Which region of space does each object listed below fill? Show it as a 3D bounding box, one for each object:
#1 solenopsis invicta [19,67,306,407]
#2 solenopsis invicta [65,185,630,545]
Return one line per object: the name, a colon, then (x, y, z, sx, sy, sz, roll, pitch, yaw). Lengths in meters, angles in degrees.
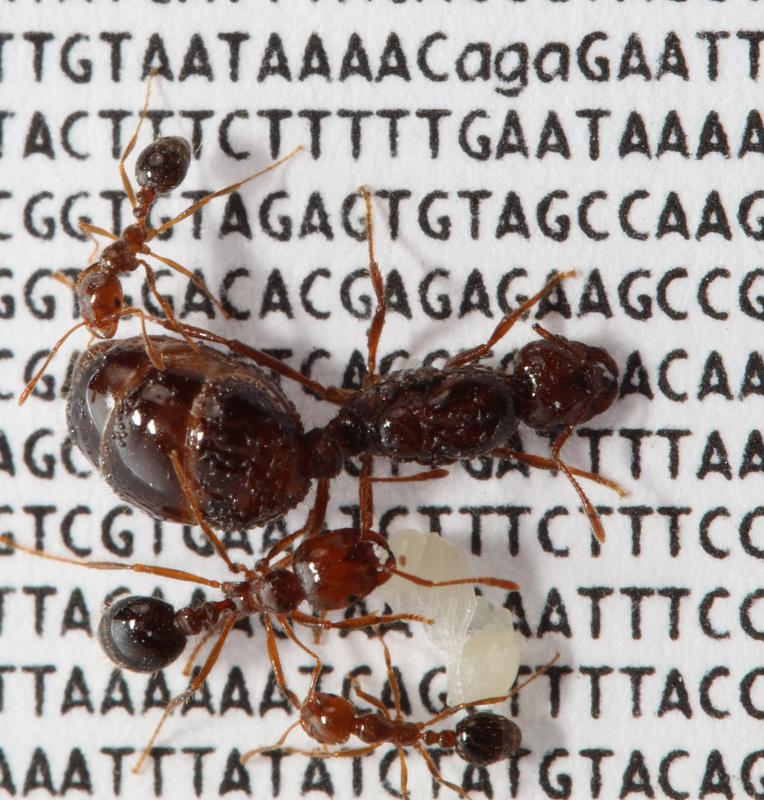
solenopsis invicta: (-0.561, -0.422, 3.553, 0.663, 0.929, 0.821, -8, 31, -4)
solenopsis invicta: (-0.113, 0.040, 3.198, 1.372, 0.657, 0.319, -5, -7, -2)
